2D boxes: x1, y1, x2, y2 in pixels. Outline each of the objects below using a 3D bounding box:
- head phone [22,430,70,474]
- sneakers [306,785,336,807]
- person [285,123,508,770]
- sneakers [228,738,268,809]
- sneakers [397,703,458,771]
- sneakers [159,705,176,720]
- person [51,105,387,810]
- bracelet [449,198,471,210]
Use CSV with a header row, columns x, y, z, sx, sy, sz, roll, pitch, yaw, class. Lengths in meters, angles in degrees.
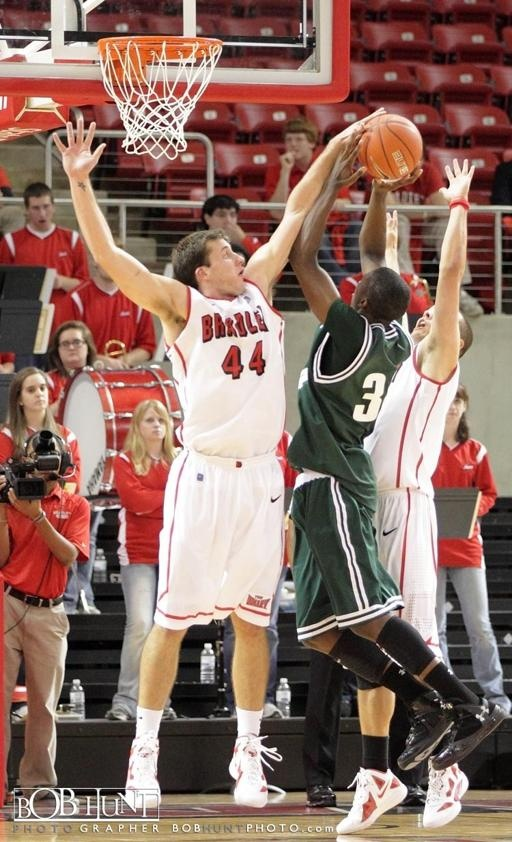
x,y,z,sx,sy,sz,roll,pitch,yaw,class
-0.754,0.115,3.463,0.149,0.162,0.084,4,-8,-2,head phone
0.265,1.524,3.929,0.079,0.059,0.145,3,-19,-6,sneakers
0.403,0.015,3.060,0.488,2.015,0.788,0,3,-16,person
-0.021,1.137,3.133,0.101,0.127,0.286,3,9,-5,sneakers
0.506,0.908,2.855,0.152,0.200,0.231,1,2,11,sneakers
-0.452,1.515,5.013,0.092,0.066,0.143,1,-18,1,sneakers
-0.119,0.318,3.192,0.926,1.709,0.324,9,5,-18,person
0.717,-0.752,3.373,0.061,0.029,0.051,5,5,4,bracelet
